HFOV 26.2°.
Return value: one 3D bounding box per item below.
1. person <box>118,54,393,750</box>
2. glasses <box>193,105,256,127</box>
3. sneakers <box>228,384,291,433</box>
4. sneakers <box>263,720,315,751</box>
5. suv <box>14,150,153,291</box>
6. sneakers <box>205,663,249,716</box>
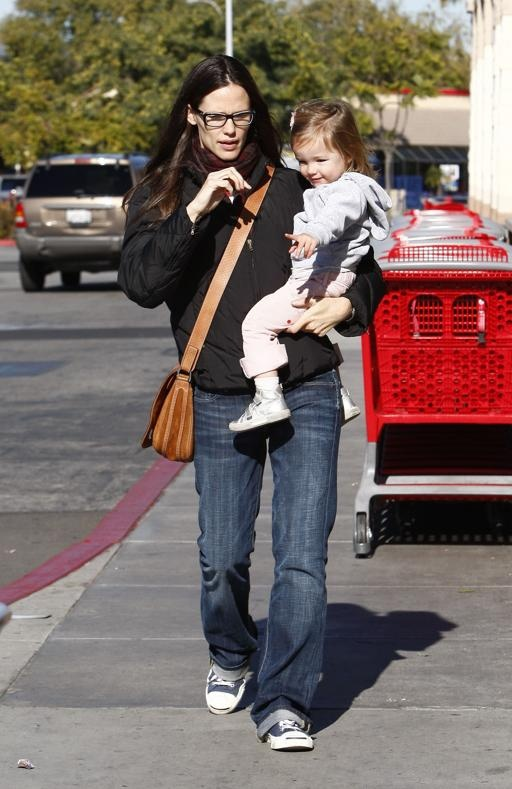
[{"bbox_3d":[-0.075,0.030,3.061,0.615,1.894,0.457,1,8,5],"label":"person"},{"bbox_3d":[-0.082,-0.729,2.927,0.130,0.050,0.044,-1,7,-9],"label":"glasses"},{"bbox_3d":[-0.037,0.040,2.965,0.086,0.127,0.199,-8,-5,-40],"label":"sneakers"},{"bbox_3d":[0.087,0.932,3.012,0.070,0.057,0.153,4,-11,-16],"label":"sneakers"},{"bbox_3d":[-3.028,-3.006,19.168,2.535,2.196,4.580,0,14,1],"label":"suv"},{"bbox_3d":[-0.099,0.897,3.296,0.083,0.077,0.204,3,-2,-2],"label":"sneakers"}]
